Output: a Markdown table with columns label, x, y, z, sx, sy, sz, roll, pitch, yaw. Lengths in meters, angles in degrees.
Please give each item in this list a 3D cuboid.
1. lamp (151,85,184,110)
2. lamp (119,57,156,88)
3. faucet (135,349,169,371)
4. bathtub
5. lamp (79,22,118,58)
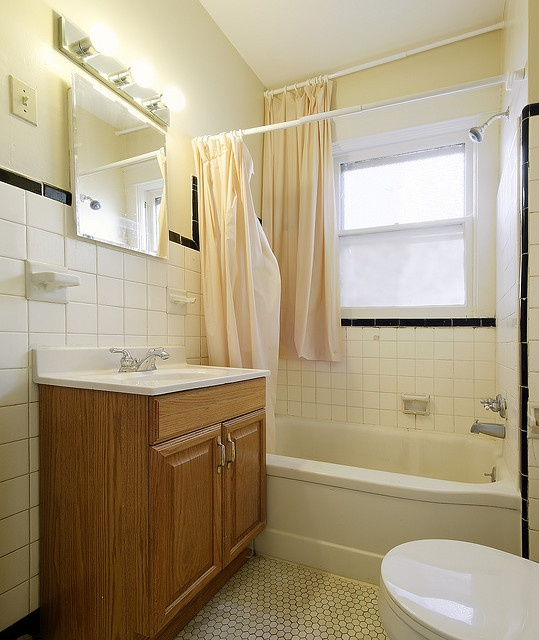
| label | x | y | z | sx | sy | sz | roll | pitch | yaw |
| --- | --- | --- | --- | --- | --- | --- | --- | --- | --- |
| lamp | -0.457 | -0.967 | 2.172 | 0.100 | 0.065 | 0.147 | 4 | 5 | -26 |
| lamp | -0.530 | -0.982 | 2.015 | 0.094 | 0.128 | 0.081 | -18 | 21 | -41 |
| faucet | -0.468 | 0.157 | 1.934 | 0.103 | 0.099 | 0.139 | 0 | 4 | -31 |
| bathtub | 0.549 | 0.774 | 2.277 | 1.083 | 0.475 | 0.989 | 5 | 5 | 32 |
| lamp | -0.610 | -1.007 | 1.769 | 0.089 | 0.115 | 0.094 | 18 | 36 | 43 |
